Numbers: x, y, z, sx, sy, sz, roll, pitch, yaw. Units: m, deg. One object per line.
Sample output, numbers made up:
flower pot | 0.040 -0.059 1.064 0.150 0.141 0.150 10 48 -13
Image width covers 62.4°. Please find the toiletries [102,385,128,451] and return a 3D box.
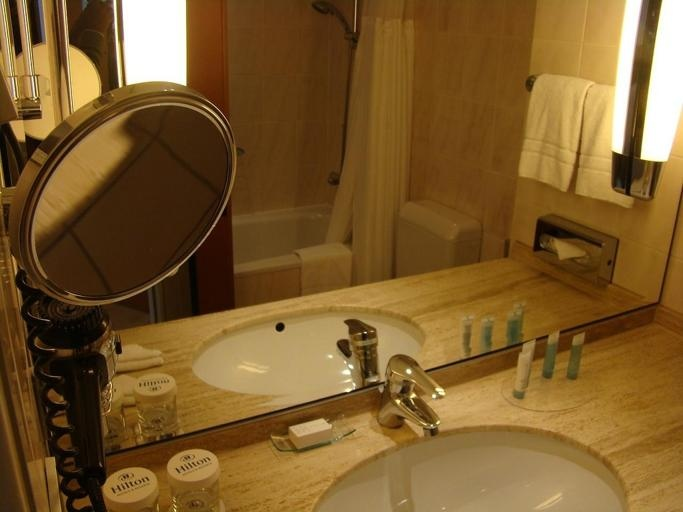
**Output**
toiletries | -0.423 0.301 1.043 0.018 0.128 0.049 10 20 31

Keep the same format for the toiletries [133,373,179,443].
toiletries | -0.357 0.288 1.087 0.078 0.127 0.034 -9 19 -24

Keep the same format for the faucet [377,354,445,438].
faucet | 0.136 0.290 1.177 0.147 0.164 0.139 -6 25 -19

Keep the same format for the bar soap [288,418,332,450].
bar soap | -0.068 0.347 1.179 0.080 0.041 0.044 -9 21 -23

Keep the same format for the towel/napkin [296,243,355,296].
towel/napkin | -0.033 0.025 1.197 0.106 0.114 0.075 -15 31 -31
